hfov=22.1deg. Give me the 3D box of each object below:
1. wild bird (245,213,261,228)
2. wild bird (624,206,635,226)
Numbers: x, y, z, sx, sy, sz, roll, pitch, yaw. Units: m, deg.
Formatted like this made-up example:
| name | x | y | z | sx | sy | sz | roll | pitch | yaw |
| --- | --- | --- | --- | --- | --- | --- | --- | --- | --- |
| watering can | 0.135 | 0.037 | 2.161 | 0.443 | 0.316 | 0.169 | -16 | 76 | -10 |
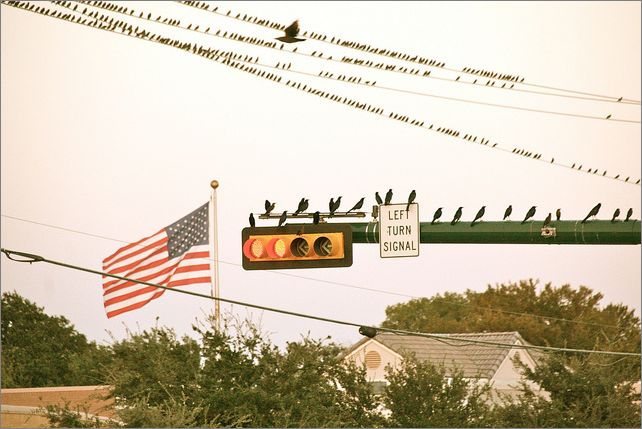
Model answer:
| name | x | y | z | sx | sy | sz | roll | pitch | yaw |
| --- | --- | --- | --- | --- | --- | --- | --- | --- | --- |
| wild bird | -2.405 | 0.201 | 56.697 | 0.284 | 0.531 | 0.625 | -7 | -35 | 22 |
| wild bird | 12.791 | 0.176 | 68.995 | 0.286 | 0.761 | 0.200 | 25 | -8 | -3 |
